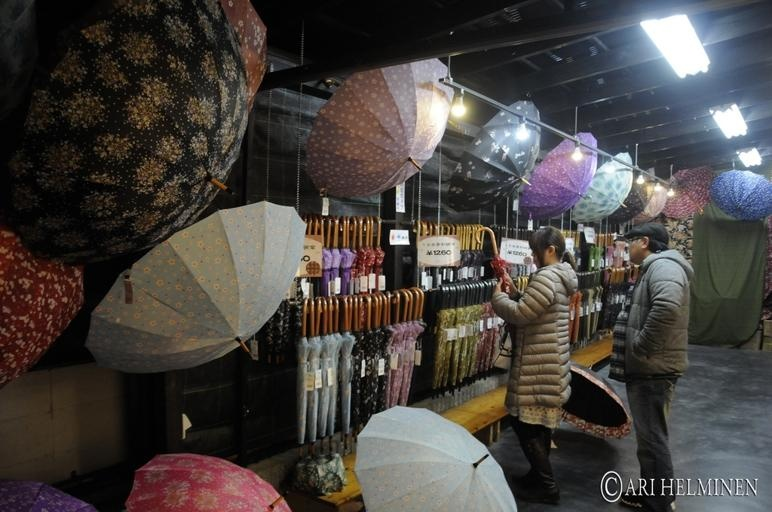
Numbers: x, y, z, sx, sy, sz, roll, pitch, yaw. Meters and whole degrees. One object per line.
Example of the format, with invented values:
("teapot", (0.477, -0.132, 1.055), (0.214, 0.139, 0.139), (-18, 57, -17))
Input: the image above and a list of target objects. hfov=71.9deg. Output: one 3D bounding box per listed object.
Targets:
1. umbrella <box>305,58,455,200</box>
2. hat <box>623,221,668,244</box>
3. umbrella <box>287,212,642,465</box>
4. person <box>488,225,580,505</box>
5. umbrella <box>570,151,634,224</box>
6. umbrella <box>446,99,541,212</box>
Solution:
("umbrella", (-0.039, -0.722, 2.927), (0.772, 0.754, 0.391), (2, 3, 6))
("hat", (2.024, -0.189, 4.137), (0.245, 0.133, 0.185), (27, 3, 28))
("umbrella", (0.530, 0.646, 3.939), (2.082, 1.226, 0.662), (0, -1, -39))
("person", (1.057, 0.771, 3.904), (0.537, 1.975, 0.494), (4, 4, 31))
("umbrella", (2.165, -0.661, 5.254), (0.287, 0.657, 0.662), (34, 8, 19))
("umbrella", (0.870, -0.767, 4.038), (0.299, 0.783, 0.808), (31, -25, 21))
